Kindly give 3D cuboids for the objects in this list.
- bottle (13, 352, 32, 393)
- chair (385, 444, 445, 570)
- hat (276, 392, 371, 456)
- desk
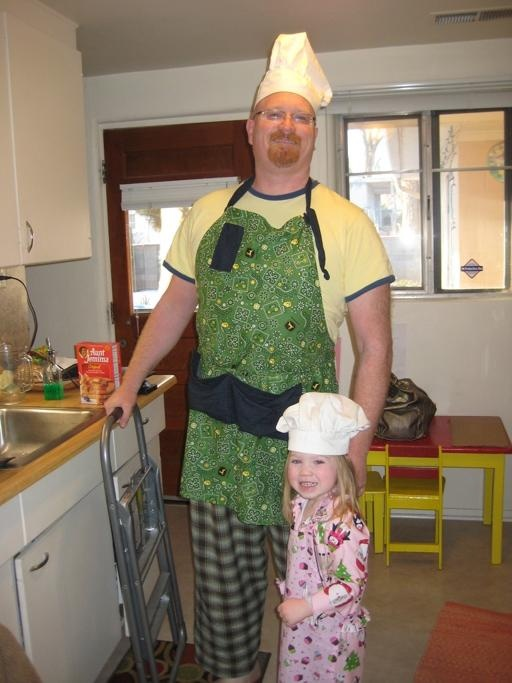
[{"bbox_3d":[-0.815,0.121,1.980,0.056,0.136,0.237,-3,6,-23],"label":"bottle"},{"bbox_3d":[0.719,0.752,2.577,0.309,0.509,0.319,-1,-14,16],"label":"chair"},{"bbox_3d":[0.124,0.141,1.098,0.142,0.088,0.142,0,-1,31],"label":"hat"},{"bbox_3d":[0.882,0.546,2.720,0.810,0.564,0.629,0,4,12],"label":"desk"}]
